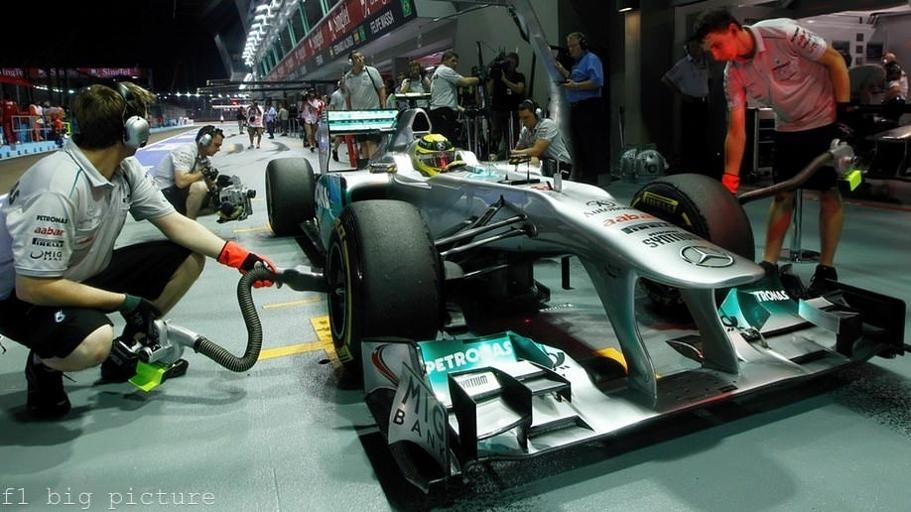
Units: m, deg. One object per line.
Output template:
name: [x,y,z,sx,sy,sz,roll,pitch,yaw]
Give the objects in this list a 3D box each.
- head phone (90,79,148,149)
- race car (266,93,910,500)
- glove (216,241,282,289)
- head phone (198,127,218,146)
head phone: [-2.445,-1.020,3.895,0.564,0.440,0.217,8,26,40]
race car: [0.591,-0.218,4.685,3.702,2.221,4.113,-11,18,-20]
glove: [-1.628,0.026,4.172,0.563,0.300,0.198,28,18,11]
head phone: [-3.534,-1.755,7.608,0.252,0.256,0.202,28,26,10]
